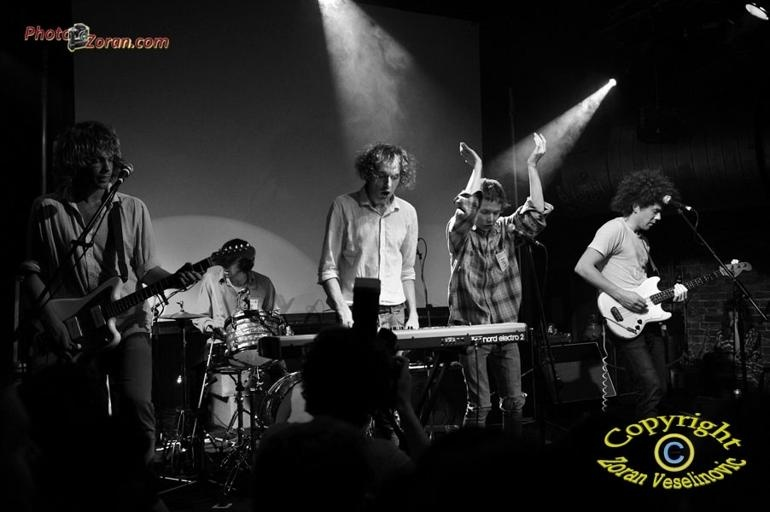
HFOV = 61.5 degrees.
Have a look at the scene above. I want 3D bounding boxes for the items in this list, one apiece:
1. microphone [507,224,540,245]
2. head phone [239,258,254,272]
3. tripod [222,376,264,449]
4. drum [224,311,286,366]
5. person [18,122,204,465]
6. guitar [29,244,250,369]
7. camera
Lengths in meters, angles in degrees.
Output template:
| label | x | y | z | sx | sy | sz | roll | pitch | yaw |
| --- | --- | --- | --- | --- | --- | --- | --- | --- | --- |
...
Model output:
| label | x | y | z | sx | sy | sz | roll | pitch | yaw |
| --- | --- | --- | --- | --- | --- | --- | --- | --- | --- |
| microphone | 1.111 | -0.184 | 5.344 | 0.238 | 0.060 | 0.082 | 22 | -30 | 28 |
| head phone | -1.460 | 0.090 | 6.805 | 0.104 | 0.145 | 0.139 | 11 | 21 | 21 |
| tripod | -1.240 | 1.299 | 5.577 | 0.367 | 0.582 | 0.397 | -1 | -3 | -11 |
| drum | -1.115 | 0.671 | 5.452 | 0.489 | 0.337 | 0.525 | -10 | 3 | 1 |
| person | -1.707 | 0.444 | 4.259 | 1.084 | 2.679 | 0.862 | -3 | 0 | -5 |
| guitar | -1.555 | 0.273 | 4.132 | 1.720 | 0.592 | 0.218 | -23 | -9 | 21 |
| camera | -0.068 | 0.330 | 3.304 | 0.210 | 0.425 | 0.149 | -3 | -2 | 1 |
